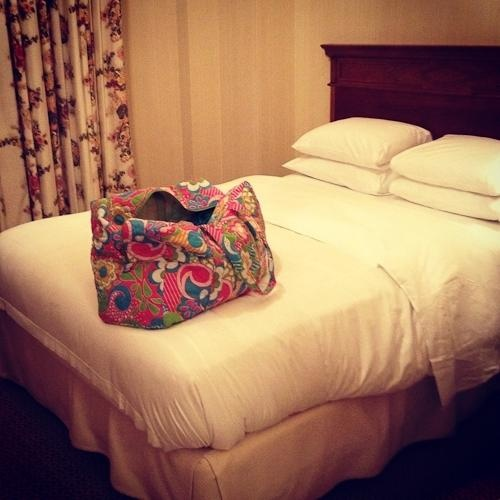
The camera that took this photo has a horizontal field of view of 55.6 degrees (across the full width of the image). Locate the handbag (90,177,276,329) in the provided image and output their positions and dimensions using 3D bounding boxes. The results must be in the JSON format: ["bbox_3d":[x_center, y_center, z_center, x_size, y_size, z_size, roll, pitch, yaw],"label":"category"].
[{"bbox_3d":[-0.144,0.041,1.304,0.478,0.250,0.398,-21,28,-37],"label":"handbag"}]
